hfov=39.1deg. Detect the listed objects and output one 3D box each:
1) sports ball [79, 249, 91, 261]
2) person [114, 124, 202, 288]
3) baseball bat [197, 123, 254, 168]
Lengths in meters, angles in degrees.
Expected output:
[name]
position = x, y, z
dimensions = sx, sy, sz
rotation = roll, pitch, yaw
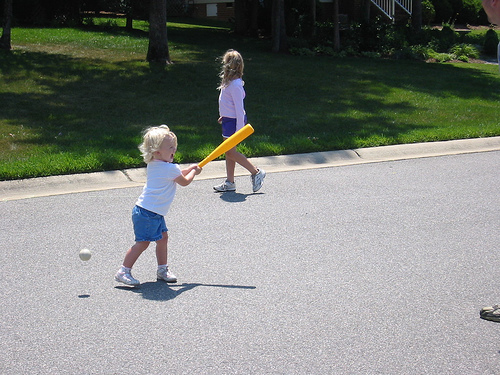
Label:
[sports ball]
position = -1.767, 0.742, 7.598
dimensions = 0.114, 0.123, 0.103
rotation = 1, 10, -10
[person]
position = -1.002, 0.201, 7.433
dimensions = 0.744, 1.707, 0.358
rotation = 2, 10, -6
[baseball bat]
position = -0.339, -0.603, 10.488
dimensions = 1.151, 0.165, 0.172
rotation = -38, 30, 0
